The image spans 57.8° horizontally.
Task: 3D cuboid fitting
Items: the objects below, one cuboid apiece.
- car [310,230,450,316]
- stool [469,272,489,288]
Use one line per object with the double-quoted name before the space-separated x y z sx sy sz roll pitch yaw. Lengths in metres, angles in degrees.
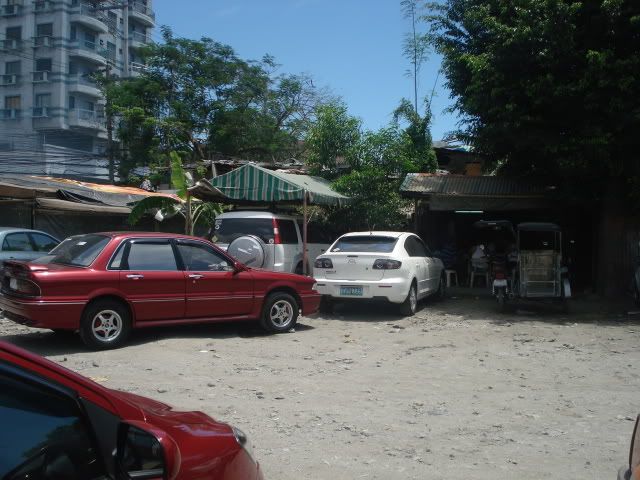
"car" 1.346 0.634 12.394 1.992 1.502 4.686 0 0 27
"stool" 4.896 1.264 18.177 0.592 0.375 0.535 -1 -8 4
